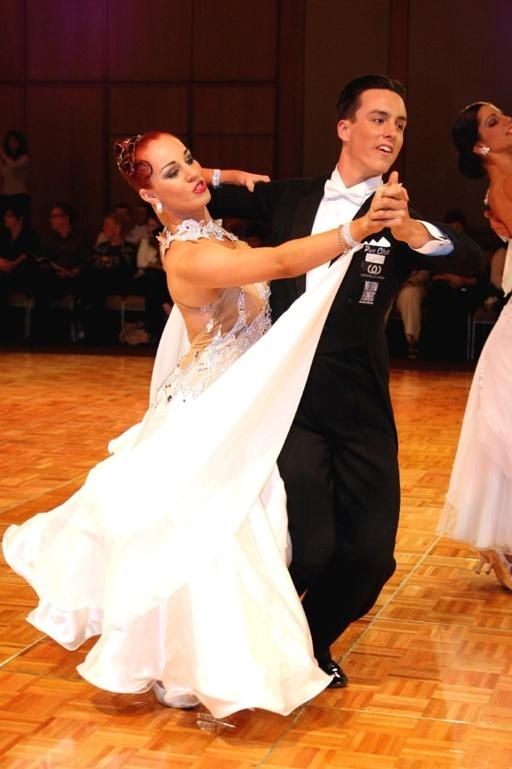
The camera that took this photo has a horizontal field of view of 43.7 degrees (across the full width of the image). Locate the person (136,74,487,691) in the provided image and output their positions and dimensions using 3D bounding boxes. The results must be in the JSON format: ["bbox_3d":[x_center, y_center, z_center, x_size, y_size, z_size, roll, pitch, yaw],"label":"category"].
[{"bbox_3d":[0.107,0.044,1.585,0.779,1.330,0.757,-1,13,16],"label":"person"}]

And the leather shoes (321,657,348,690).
[{"bbox_3d":[0.201,0.739,1.631,0.078,0.057,0.142,2,-18,-7],"label":"leather shoes"}]

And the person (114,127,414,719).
[{"bbox_3d":[0.115,0.012,1.528,0.790,1.393,0.585,8,15,23],"label":"person"}]
